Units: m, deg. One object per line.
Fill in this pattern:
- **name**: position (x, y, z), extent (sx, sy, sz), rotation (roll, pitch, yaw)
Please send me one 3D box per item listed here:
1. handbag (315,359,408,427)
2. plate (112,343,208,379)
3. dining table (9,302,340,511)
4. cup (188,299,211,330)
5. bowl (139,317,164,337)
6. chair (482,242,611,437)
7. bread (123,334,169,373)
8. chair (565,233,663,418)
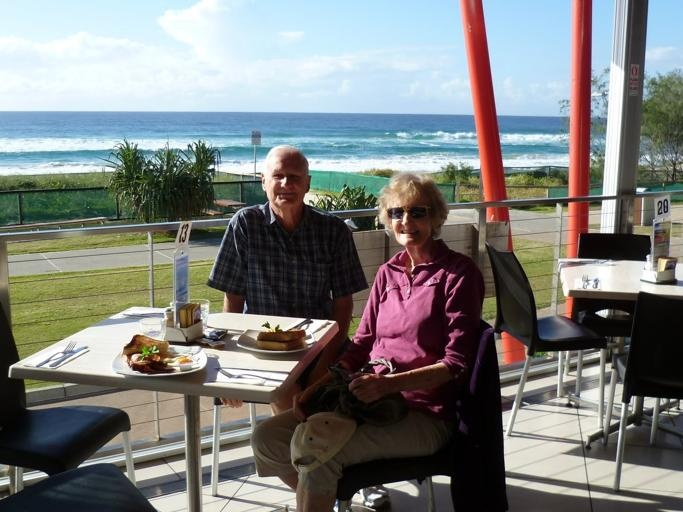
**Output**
- **handbag**: position (0.036, 0.548, 1.963), extent (0.322, 0.126, 0.246), rotation (-9, -11, 0)
- **plate**: position (-0.607, 0.346, 1.726), extent (0.285, 0.034, 0.274), rotation (-4, 12, -24)
- **dining table**: position (-0.517, 0.321, 2.030), extent (0.918, 0.829, 0.896), rotation (3, 10, 12)
- **cup**: position (-0.528, 0.230, 2.041), extent (0.109, 0.113, 0.111), rotation (1, 4, 0)
- **bowl**: position (-0.683, 0.253, 1.862), extent (0.067, 0.049, 0.072), rotation (1, 3, 0)
- **chair**: position (1.282, 0.489, 3.229), extent (0.725, 1.103, 0.585), rotation (-4, 12, -22)
- **bread**: position (-0.630, 0.320, 1.678), extent (0.127, 0.048, 0.124), rotation (14, 20, 7)
- **chair**: position (1.947, 0.215, 3.817), extent (0.751, 1.277, 0.860), rotation (4, 5, 29)
